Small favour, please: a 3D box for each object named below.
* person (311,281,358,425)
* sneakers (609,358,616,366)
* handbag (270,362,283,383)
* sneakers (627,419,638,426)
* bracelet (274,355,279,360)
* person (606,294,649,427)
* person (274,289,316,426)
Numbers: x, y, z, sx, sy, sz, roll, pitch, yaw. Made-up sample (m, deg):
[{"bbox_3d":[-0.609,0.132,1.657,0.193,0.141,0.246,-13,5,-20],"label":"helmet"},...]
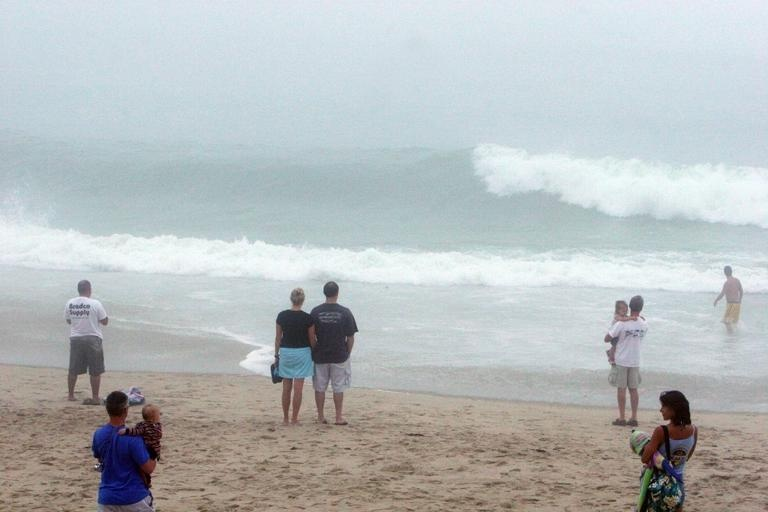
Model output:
[{"bbox_3d":[-1.279,2.344,27.496,1.059,3.461,0.783,0,11,-4],"label":"person"},{"bbox_3d":[5.754,2.642,27.990,0.146,0.175,0.059,9,6,2],"label":"sneakers"},{"bbox_3d":[-2.674,2.907,27.524,0.225,0.574,0.252,1,10,-11],"label":"handbag"},{"bbox_3d":[6.216,4.098,27.753,0.264,0.176,0.191,2,10,8],"label":"sneakers"},{"bbox_3d":[-2.672,2.487,27.498,0.112,0.165,0.119,-5,10,-23],"label":"bracelet"},{"bbox_3d":[6.045,2.569,27.847,0.939,3.147,0.952,3,11,11],"label":"person"},{"bbox_3d":[-2.271,2.412,27.486,0.812,3.299,0.738,-8,14,-40],"label":"person"}]
